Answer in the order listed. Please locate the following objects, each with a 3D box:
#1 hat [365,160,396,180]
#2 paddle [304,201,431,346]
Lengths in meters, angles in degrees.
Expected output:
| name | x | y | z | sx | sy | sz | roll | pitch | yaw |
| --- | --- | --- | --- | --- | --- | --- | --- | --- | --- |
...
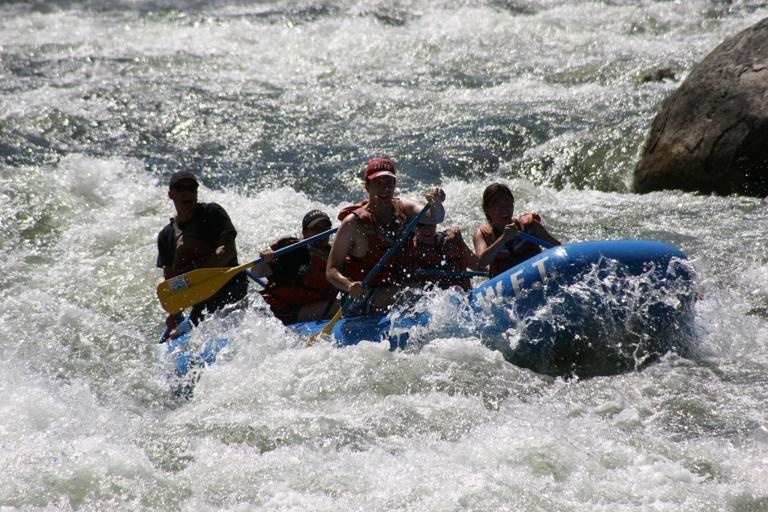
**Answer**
| name | x | y | z | sx | sy | sz | roll | pitch | yaw |
| --- | --- | --- | --- | --- | --- | --- | --- | --- | --- |
| hat | -0.080 | -1.092 | 14.547 | 0.287 | 0.198 | 0.373 | 3 | 4 | -11 |
| paddle | -0.163 | 0.246 | 14.584 | 2.469 | 0.156 | 0.277 | -44 | 55 | 9 |
